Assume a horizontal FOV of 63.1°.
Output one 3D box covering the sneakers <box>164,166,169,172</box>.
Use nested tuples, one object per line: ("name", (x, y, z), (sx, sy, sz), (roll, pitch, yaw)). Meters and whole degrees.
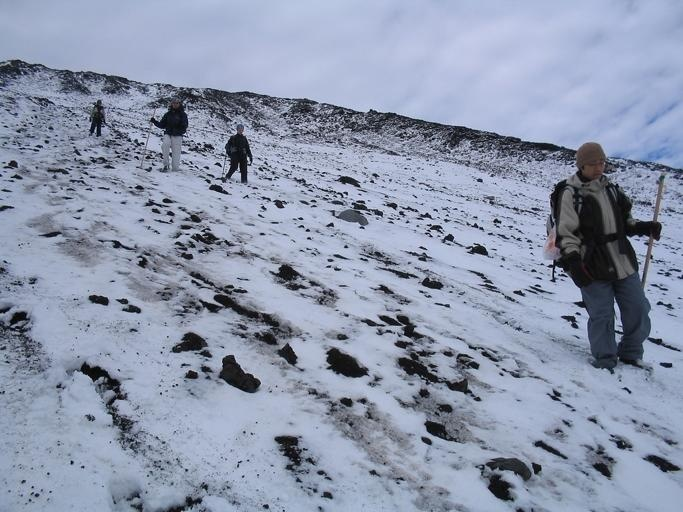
("sneakers", (-4.280, -2.143, 13.653), (0.124, 0.136, 0.145), (-8, 27, -23))

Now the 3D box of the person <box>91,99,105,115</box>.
("person", (-7.810, -4.787, 17.937), (0.325, 0.504, 1.125), (8, 15, -25))

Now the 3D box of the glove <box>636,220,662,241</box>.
("glove", (4.036, -0.349, 7.359), (0.311, 0.189, 0.770), (21, 15, 26))
